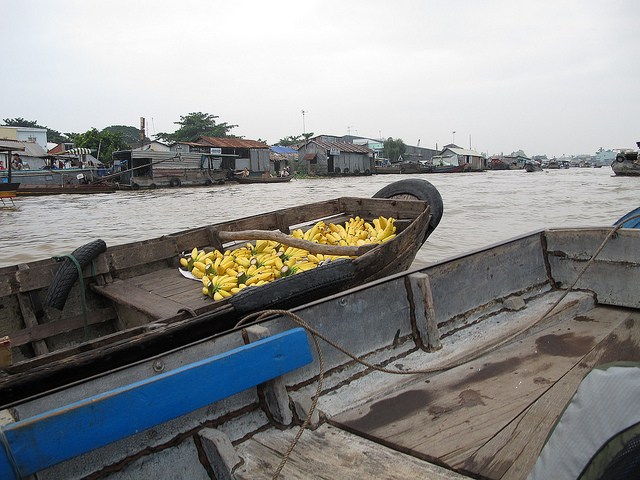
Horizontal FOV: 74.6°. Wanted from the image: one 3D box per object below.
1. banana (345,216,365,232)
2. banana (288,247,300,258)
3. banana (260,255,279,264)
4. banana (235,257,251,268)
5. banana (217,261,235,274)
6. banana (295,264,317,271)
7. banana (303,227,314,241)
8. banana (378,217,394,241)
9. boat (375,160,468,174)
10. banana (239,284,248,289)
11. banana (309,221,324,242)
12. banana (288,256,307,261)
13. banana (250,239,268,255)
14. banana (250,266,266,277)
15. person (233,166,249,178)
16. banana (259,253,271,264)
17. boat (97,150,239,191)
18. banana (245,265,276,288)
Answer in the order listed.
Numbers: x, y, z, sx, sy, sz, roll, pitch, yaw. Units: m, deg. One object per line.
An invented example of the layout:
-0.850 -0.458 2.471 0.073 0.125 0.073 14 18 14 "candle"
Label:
0.575 -0.270 6.914 0.179 0.093 0.308 -9 26 32 "banana"
-0.343 0.161 5.639 0.054 0.069 0.269 24 31 22 "banana"
-0.626 0.231 5.366 0.263 0.094 0.047 -24 55 -11 "banana"
-0.951 0.283 5.237 0.196 0.096 0.056 14 41 32 "banana"
-1.127 0.328 5.061 0.062 0.084 0.241 47 38 16 "banana"
-0.132 0.335 5.108 0.162 0.034 0.055 -16 -6 4 "banana"
-0.186 -0.097 6.475 0.071 0.086 0.266 28 30 9 "banana"
1.018 -0.148 6.478 0.133 0.165 0.499 -15 22 47 "banana"
14.413 -10.534 63.209 12.383 2.020 5.940 -4 13 2 "boat"
-0.815 0.498 4.469 0.103 0.045 0.103 -1 8 -3 "banana"
-0.077 -0.146 6.378 0.104 0.135 0.390 28 62 4 "banana"
-0.281 0.243 5.507 0.271 0.076 0.062 1 3 -37 "banana"
-0.842 0.106 5.855 0.204 0.054 0.071 -48 17 -1 "banana"
-0.730 0.364 4.983 0.229 0.065 0.055 -22 49 -34 "banana"
-8.121 -7.039 44.555 1.316 0.471 1.089 -24 32 -35 "person"
-0.712 0.232 5.468 0.049 0.066 0.211 33 43 29 "banana"
-13.783 -6.634 39.840 5.673 3.994 15.520 3 15 32 "boat"
-0.682 0.408 4.818 0.216 0.081 0.277 13 11 16 "banana"
